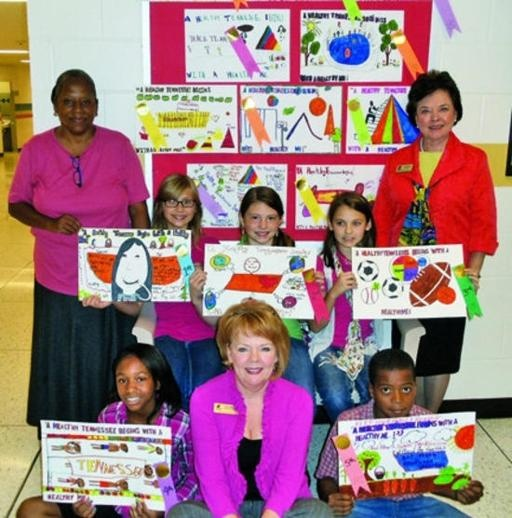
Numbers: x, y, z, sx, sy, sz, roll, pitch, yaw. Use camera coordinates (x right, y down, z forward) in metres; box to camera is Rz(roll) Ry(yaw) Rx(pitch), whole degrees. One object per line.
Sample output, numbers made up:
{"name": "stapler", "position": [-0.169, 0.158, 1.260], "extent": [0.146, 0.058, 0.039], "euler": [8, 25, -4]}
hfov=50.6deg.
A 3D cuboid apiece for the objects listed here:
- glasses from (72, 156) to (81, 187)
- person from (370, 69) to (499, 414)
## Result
{"name": "glasses", "position": [-0.723, -0.345, 2.153], "extent": [0.035, 0.114, 0.023], "euler": [-3, 14, -21]}
{"name": "person", "position": [0.753, 0.035, 2.342], "extent": [0.510, 1.599, 0.460], "euler": [5, 10, 22]}
